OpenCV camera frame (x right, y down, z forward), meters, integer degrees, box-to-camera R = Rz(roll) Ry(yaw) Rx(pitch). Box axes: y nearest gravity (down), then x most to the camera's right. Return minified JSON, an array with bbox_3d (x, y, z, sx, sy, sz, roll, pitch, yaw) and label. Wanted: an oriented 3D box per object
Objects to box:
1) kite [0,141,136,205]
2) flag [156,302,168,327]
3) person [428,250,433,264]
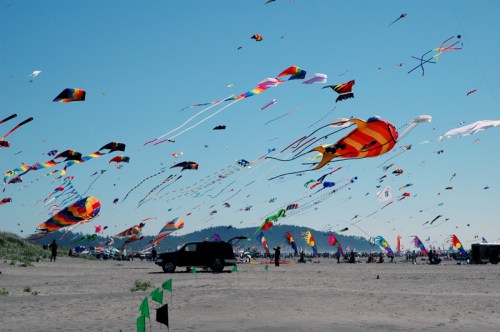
[{"bbox_3d":[-8.333,-0.234,24.494,7.874,1.124,1.174,-25,-27,-13],"label":"kite"},{"bbox_3d":[-3.089,5.217,17.943,0.391,0.771,0.712,3,-18,-14],"label":"flag"},{"bbox_3d":[20.223,10.159,56.727,0.495,1.508,1.334,-8,-18,18],"label":"person"}]
